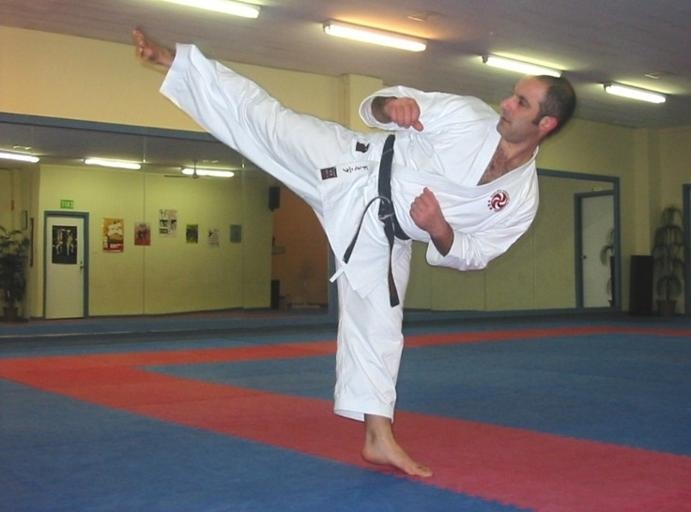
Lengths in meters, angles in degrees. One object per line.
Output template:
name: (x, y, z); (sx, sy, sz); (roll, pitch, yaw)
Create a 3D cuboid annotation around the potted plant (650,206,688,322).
potted plant: (6.678, 0.072, 12.126); (0.740, 2.213, 0.653); (0, 0, -30)
